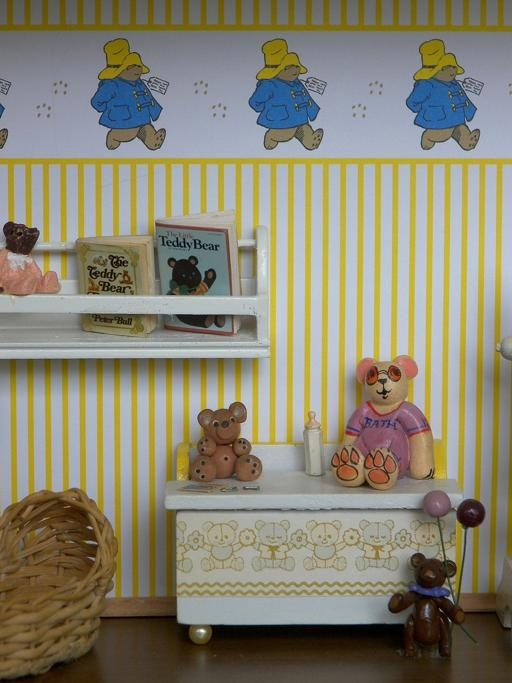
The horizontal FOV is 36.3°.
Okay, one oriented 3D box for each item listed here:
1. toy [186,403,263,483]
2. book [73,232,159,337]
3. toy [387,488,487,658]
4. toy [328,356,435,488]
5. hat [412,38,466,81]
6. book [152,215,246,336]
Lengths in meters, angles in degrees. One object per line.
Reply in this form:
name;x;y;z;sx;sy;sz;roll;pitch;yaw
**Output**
toy;-0.101;0.260;2.162;0.249;0.234;0.193;-1;6;-9
book;-0.353;-0.144;1.993;0.202;0.261;0.228;-1;4;-10
toy;0.477;0.584;2.004;0.199;0.430;0.295;4;6;43
toy;0.369;0.212;2.146;0.349;0.335;0.203;-4;6;-42
hat;0.508;-0.797;2.239;0.145;0.068;0.082;-18;1;7
book;-0.148;-0.171;2.001;0.209;0.319;0.227;-1;4;-6
